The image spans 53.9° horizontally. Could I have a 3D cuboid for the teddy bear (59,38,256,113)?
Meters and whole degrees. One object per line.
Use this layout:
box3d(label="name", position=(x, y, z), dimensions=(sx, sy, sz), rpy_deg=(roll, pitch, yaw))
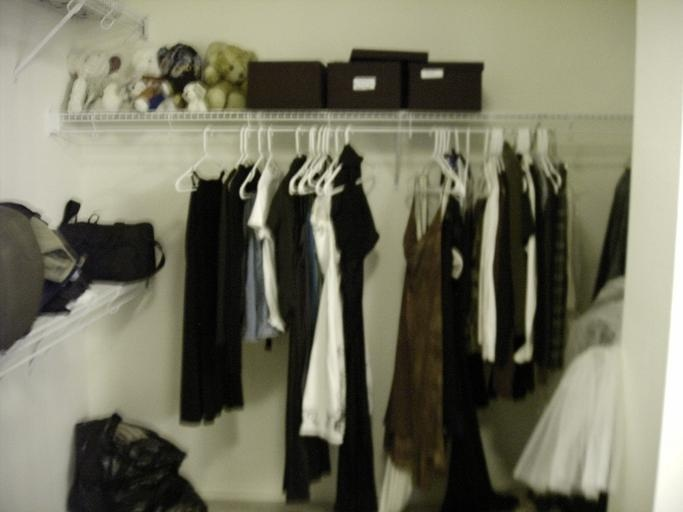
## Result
box3d(label="teddy bear", position=(-0.673, -0.666, 2.567), dimensions=(0.485, 0.196, 0.335), rpy_deg=(-12, 24, -26))

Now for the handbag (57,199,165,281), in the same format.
box3d(label="handbag", position=(-0.817, -0.048, 2.342), dimensions=(0.176, 0.312, 0.508), rpy_deg=(0, 8, 13))

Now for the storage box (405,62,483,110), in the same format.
box3d(label="storage box", position=(0.384, -0.620, 2.520), dimensions=(0.186, 0.130, 0.201), rpy_deg=(0, 10, -2))
